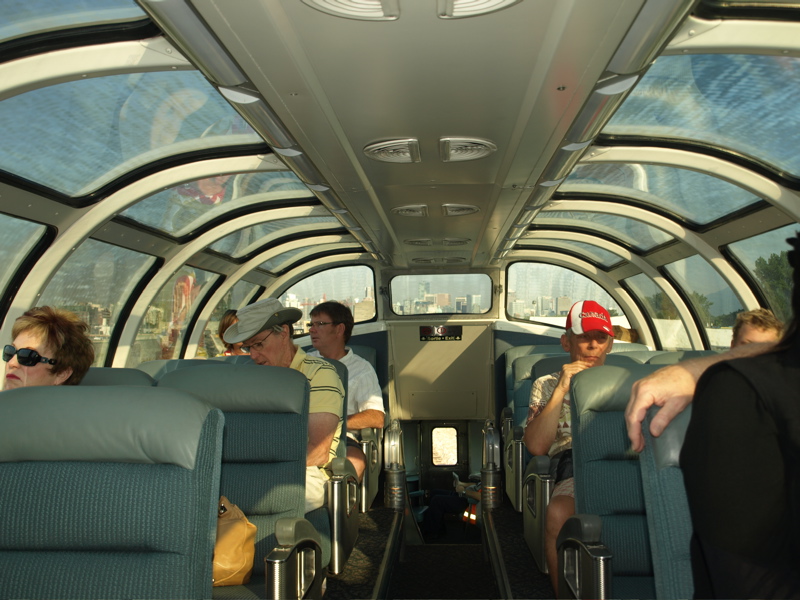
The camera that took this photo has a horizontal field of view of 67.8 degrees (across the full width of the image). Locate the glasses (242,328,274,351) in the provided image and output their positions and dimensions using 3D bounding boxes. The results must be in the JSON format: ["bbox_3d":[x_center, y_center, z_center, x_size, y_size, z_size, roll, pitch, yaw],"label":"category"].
[{"bbox_3d":[-1.120,0.291,4.812,0.214,0.058,0.203,-18,13,34],"label":"glasses"}]

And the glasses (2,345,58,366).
[{"bbox_3d":[-2.095,0.314,3.378,0.190,0.046,0.160,2,-13,4],"label":"glasses"}]

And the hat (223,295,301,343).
[{"bbox_3d":[-1.092,0.153,4.722,0.529,0.165,0.393,-20,-4,-19],"label":"hat"}]
